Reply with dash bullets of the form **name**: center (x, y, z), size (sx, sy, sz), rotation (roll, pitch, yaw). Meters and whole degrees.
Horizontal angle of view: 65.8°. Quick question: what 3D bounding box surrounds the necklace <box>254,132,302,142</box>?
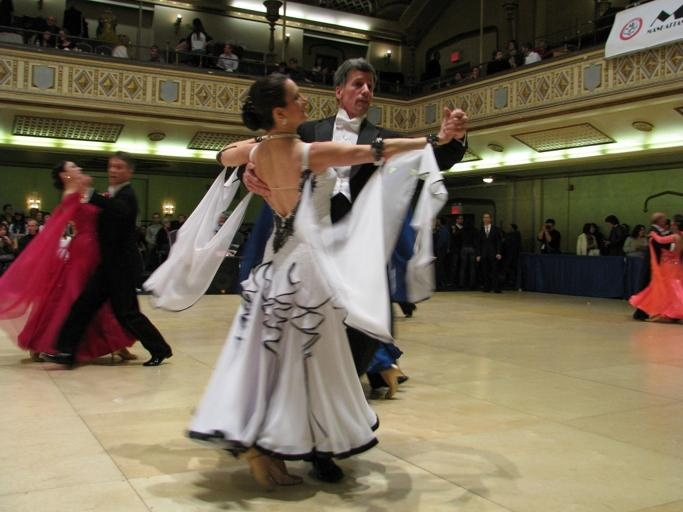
- **necklace**: center (-0.303, -0.582, 2.595), size (0.152, 0.030, 0.141), rotation (-3, 3, -11)

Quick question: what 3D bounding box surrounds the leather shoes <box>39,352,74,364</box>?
- **leather shoes**: center (-2.616, 0.936, 4.856), size (0.313, 0.107, 0.101), rotation (8, -9, -1)

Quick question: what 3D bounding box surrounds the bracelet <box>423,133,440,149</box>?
- **bracelet**: center (0.453, -0.579, 2.671), size (0.059, 0.063, 0.067), rotation (10, 11, 19)

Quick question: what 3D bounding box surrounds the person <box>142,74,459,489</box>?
- **person**: center (-0.389, 0.118, 2.642), size (1.314, 2.054, 0.719), rotation (2, 3, 29)

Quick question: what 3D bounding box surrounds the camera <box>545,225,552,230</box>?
- **camera**: center (5.393, -0.748, 13.798), size (0.130, 0.083, 0.109), rotation (-24, 31, -33)

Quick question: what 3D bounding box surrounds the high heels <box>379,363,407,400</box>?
- **high heels**: center (0.420, 0.953, 4.167), size (0.124, 0.145, 0.357), rotation (16, 13, -9)

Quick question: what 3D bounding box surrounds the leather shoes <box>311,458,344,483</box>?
- **leather shoes**: center (-0.092, 1.083, 2.756), size (0.117, 0.091, 0.249), rotation (2, 0, -30)
